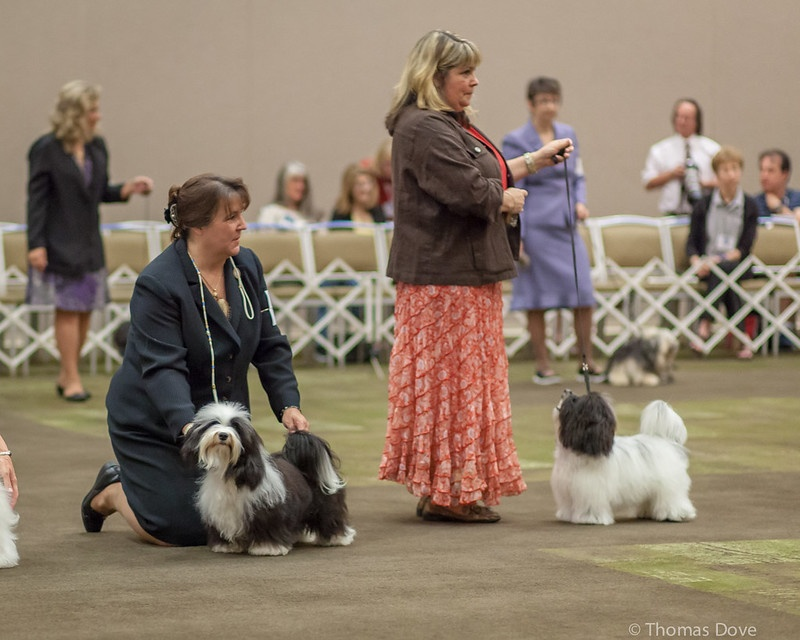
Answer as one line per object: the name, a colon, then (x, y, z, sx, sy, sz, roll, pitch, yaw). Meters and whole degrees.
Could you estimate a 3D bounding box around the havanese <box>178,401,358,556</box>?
havanese: (-0.619, 0.735, 7.893, 0.801, 0.696, 0.416, 3, -3, -45)

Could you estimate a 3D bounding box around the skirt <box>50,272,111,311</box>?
skirt: (-2.231, -0.193, 11.748, 0.420, 0.274, 0.406, 3, -2, -2)

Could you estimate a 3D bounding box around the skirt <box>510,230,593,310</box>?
skirt: (1.017, -0.416, 12.339, 0.693, 0.611, 0.410, -1, 8, -28)

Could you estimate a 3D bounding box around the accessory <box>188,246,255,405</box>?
accessory: (-0.875, 0.036, 8.117, 0.241, 0.757, 0.035, 2, -28, -30)

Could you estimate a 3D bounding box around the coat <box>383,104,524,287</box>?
coat: (0.362, -0.686, 8.842, 0.854, 1.076, 0.963, -3, 5, -5)

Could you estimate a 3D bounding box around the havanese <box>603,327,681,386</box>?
havanese: (1.805, 0.285, 12.759, 0.585, 0.404, 0.388, -1, 5, 25)

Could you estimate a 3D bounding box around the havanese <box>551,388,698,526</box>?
havanese: (1.101, 0.682, 8.578, 0.782, 0.645, 0.467, 0, 7, -24)

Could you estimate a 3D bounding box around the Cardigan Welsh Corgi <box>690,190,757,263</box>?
Cardigan Welsh Corgi: (2.650, -0.805, 14.090, 0.563, 0.593, 0.375, 5, 3, 0)

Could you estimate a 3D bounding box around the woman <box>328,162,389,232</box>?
woman: (-0.412, -1.060, 14.800, 0.663, 0.662, 0.490, 0, 4, -13)
